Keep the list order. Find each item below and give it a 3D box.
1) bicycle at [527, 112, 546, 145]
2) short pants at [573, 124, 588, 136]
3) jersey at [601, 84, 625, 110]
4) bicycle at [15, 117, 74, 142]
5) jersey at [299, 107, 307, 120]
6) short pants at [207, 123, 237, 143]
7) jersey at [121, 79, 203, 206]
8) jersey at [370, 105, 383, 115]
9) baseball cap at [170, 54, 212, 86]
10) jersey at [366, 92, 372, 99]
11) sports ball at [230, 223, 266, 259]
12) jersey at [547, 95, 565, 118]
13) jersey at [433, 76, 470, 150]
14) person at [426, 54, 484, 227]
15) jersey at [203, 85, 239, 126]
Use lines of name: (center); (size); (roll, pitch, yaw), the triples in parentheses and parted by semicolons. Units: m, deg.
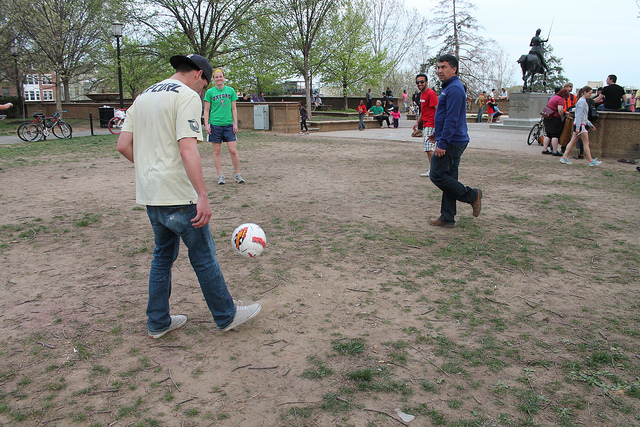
bicycle: (8.314, -3.184, 16.786); (0.507, 0.997, 1.781); (6, 15, 24)
short pants: (7.205, -2.333, 12.155); (0.282, 0.304, 0.352); (7, 5, -35)
jersey: (9.839, -3.927, 14.649); (0.636, 0.820, 0.459); (5, 15, 22)
bicycle: (-11.375, -3.487, 17.933); (1.519, 0.845, 2.796); (1, 14, 9)
jersey: (-0.830, -4.829, 20.998); (0.234, 0.568, 0.526); (-3, 14, -6)
short pants: (-2.098, -1.698, 9.266); (0.689, 0.462, 0.365); (-4, 13, -18)
jersey: (-1.558, -0.705, 4.277); (0.801, 1.200, 0.501); (-1, 14, -1)
jersey: (3.408, -6.393, 26.921); (0.907, 0.483, 0.566); (11, 18, 39)
baseball cap: (-1.308, -1.538, 4.425); (0.305, 0.194, 0.396); (2, -10, 6)
jersey: (3.495, -8.448, 31.165); (0.455, 0.540, 0.316); (-2, 8, -3)
sports ball: (-0.864, 0.258, 5.141); (0.443, 0.375, 0.391); (-6, 28, 10)
jersey: (7.477, -3.367, 13.767); (0.426, 0.712, 0.658); (-21, 25, -37)
jersey: (2.061, -1.577, 6.791); (0.509, 1.103, 0.574); (3, 15, 15)
person: (2.135, -1.126, 6.907); (0.786, 2.691, 0.614); (0, 14, 4)
jersey: (-2.106, -2.267, 9.166); (0.646, 0.810, 0.269); (-4, 15, -14)
